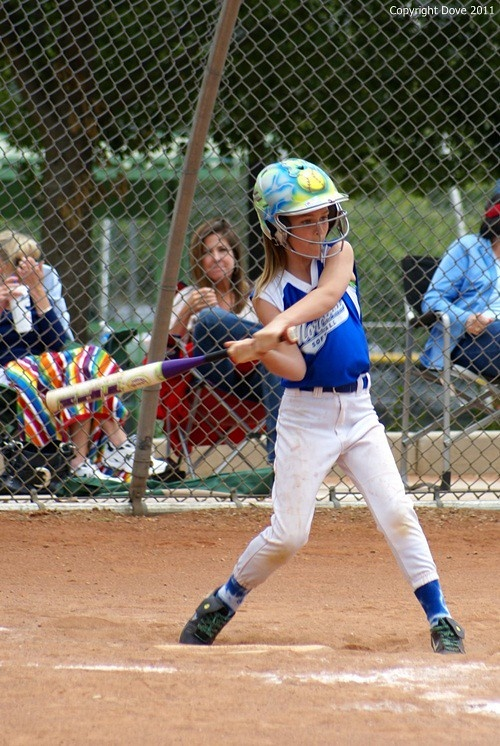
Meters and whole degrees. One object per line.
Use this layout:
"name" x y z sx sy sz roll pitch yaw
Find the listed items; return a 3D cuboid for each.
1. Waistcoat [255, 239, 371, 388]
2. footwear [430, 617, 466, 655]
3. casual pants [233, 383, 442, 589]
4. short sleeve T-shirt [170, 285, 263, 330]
"Waistcoat" 0.177 -0.156 2.662 0.249 0.370 0.355 15 32 43
"footwear" 0.543 0.718 2.477 0.058 0.049 0.129 -12 10 -2
"casual pants" 0.228 0.336 2.619 0.574 0.577 0.300 -2 11 -4
"short sleeve T-shirt" -0.245 -0.325 4.421 0.300 0.304 0.134 -2 -24 -17
